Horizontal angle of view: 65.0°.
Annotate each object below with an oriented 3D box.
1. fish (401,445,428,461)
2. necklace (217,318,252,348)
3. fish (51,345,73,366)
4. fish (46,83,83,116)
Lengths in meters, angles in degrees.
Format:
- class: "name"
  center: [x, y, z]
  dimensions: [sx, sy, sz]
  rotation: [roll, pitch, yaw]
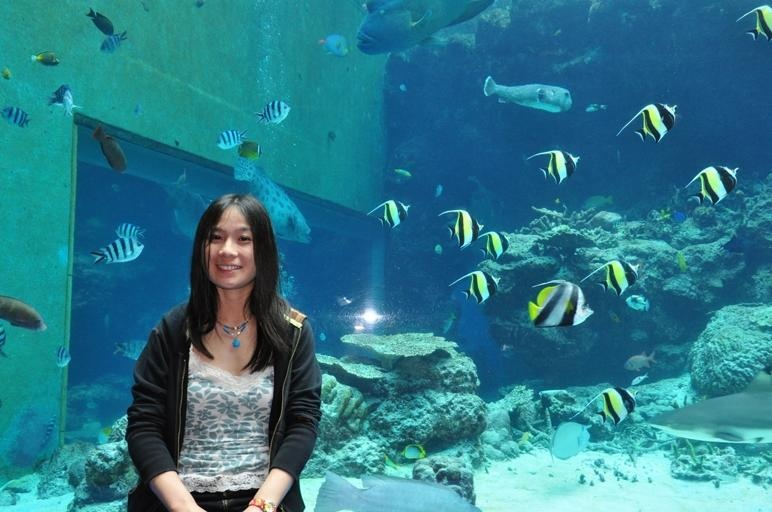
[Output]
- class: "fish"
  center: [0.635, 4.440, 13.696]
  dimensions: [0.575, 0.380, 0.263]
  rotation: [3, 0, 1]
- class: "necklace"
  center: [-2.519, 1.300, 10.056]
  dimensions: [0.438, 0.465, 0.076]
  rotation: [-2, -5, 3]
- class: "fish"
  center: [-7.107, 2.202, 13.341]
  dimensions: [0.291, 0.478, 0.470]
  rotation: [5, -17, -31]
- class: "fish"
  center: [-7.040, -3.475, 13.296]
  dimensions: [0.583, 0.806, 0.810]
  rotation: [3, -16, -25]
